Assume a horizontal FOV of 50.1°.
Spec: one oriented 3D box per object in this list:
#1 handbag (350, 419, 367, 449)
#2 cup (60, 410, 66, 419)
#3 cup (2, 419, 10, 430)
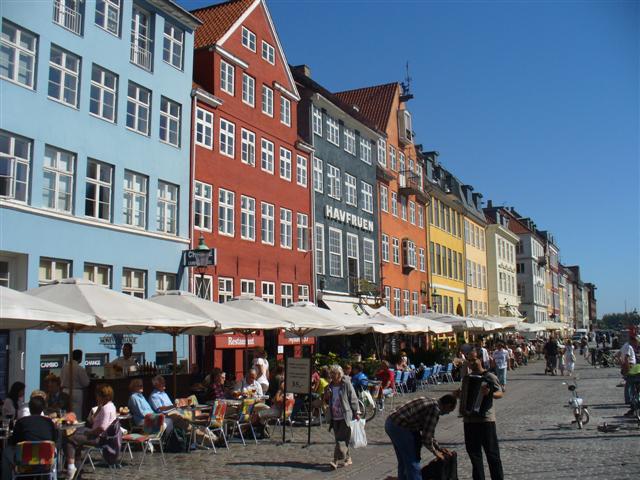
[{"bbox_3d":[0.819,4.108,14.624,0.219,0.563,0.511,-15,-19,40],"label":"handbag"},{"bbox_3d":[-5.288,3.587,14.102,0.112,0.184,0.549,2,-17,-20],"label":"cup"},{"bbox_3d":[-6.254,3.676,13.663,0.165,0.257,0.195,5,-13,-23],"label":"cup"}]
